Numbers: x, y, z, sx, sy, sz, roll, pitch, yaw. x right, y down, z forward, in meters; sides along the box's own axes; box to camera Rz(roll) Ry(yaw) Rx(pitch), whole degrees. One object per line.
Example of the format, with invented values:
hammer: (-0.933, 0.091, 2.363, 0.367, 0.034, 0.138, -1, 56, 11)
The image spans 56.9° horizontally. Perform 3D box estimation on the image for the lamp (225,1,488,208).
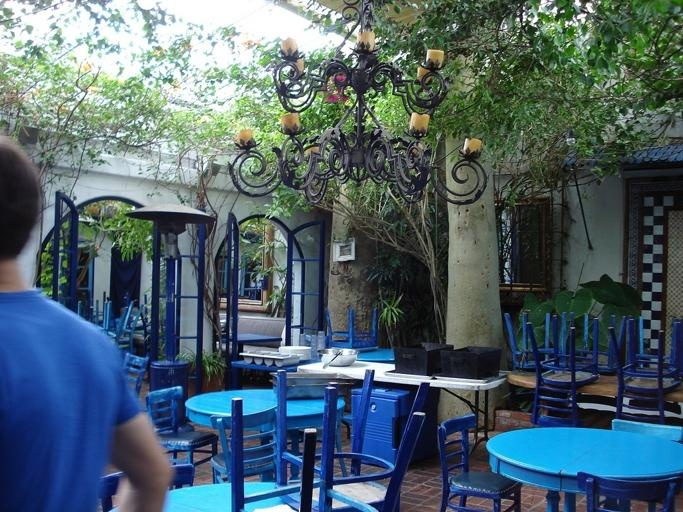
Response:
lamp: (0.161, -1.313, 5.216, 1.625, 1.567, 2.533, 13, 1, -4)

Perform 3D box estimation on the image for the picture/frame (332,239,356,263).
picture/frame: (0.053, -0.071, 9.518, 0.323, 0.314, 0.035, -4, -8, 37)
